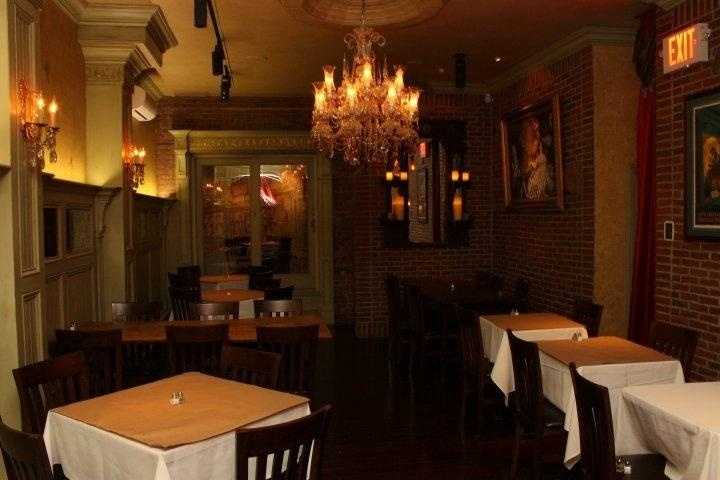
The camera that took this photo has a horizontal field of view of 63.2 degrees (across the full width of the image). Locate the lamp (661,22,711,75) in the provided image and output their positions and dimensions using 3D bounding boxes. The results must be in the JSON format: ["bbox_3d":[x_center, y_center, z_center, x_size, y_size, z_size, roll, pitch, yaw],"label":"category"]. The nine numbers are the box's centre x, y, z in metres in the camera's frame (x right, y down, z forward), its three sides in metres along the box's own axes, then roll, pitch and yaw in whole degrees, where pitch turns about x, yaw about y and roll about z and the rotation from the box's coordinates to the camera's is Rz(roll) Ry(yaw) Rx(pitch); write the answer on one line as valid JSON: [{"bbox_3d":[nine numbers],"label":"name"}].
[{"bbox_3d":[3.557,-2.084,6.375,0.167,0.471,0.518,-4,10,-17],"label":"lamp"}]

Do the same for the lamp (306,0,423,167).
[{"bbox_3d":[0.092,-1.985,7.731,1.324,1.944,2.612,0,9,2],"label":"lamp"}]

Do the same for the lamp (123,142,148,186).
[{"bbox_3d":[-3.030,-0.978,7.907,0.192,0.616,0.821,-3,10,-14],"label":"lamp"}]

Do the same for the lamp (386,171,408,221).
[{"bbox_3d":[0.602,-0.721,9.657,0.360,0.838,0.213,0,10,4],"label":"lamp"}]

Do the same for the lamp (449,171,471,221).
[{"bbox_3d":[1.673,-0.735,9.714,0.359,0.849,0.283,-1,10,0],"label":"lamp"}]

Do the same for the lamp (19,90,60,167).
[{"bbox_3d":[-3.194,-1.122,5.871,0.316,0.817,0.901,-5,11,-25],"label":"lamp"}]
